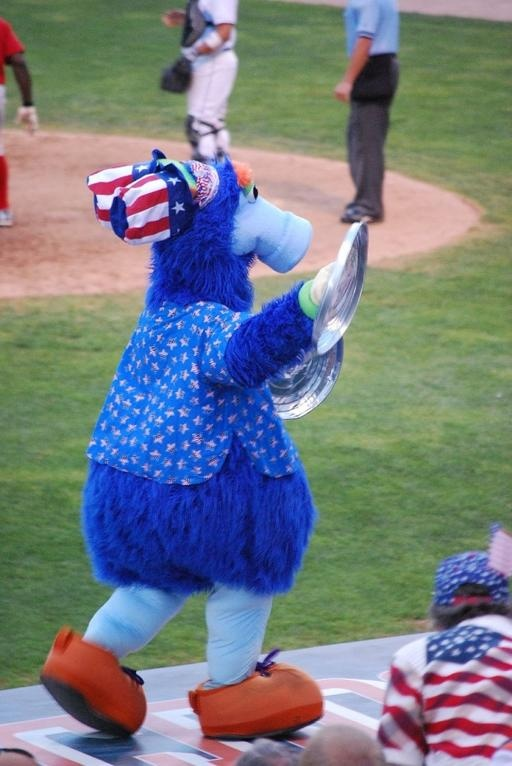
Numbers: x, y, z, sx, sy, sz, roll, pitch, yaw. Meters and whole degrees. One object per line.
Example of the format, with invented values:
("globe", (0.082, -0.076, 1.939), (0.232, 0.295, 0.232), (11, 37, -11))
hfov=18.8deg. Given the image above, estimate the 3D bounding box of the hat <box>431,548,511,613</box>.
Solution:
("hat", (0.493, 0.452, 3.606), (0.181, 0.117, 0.123), (-4, 1, 20))
